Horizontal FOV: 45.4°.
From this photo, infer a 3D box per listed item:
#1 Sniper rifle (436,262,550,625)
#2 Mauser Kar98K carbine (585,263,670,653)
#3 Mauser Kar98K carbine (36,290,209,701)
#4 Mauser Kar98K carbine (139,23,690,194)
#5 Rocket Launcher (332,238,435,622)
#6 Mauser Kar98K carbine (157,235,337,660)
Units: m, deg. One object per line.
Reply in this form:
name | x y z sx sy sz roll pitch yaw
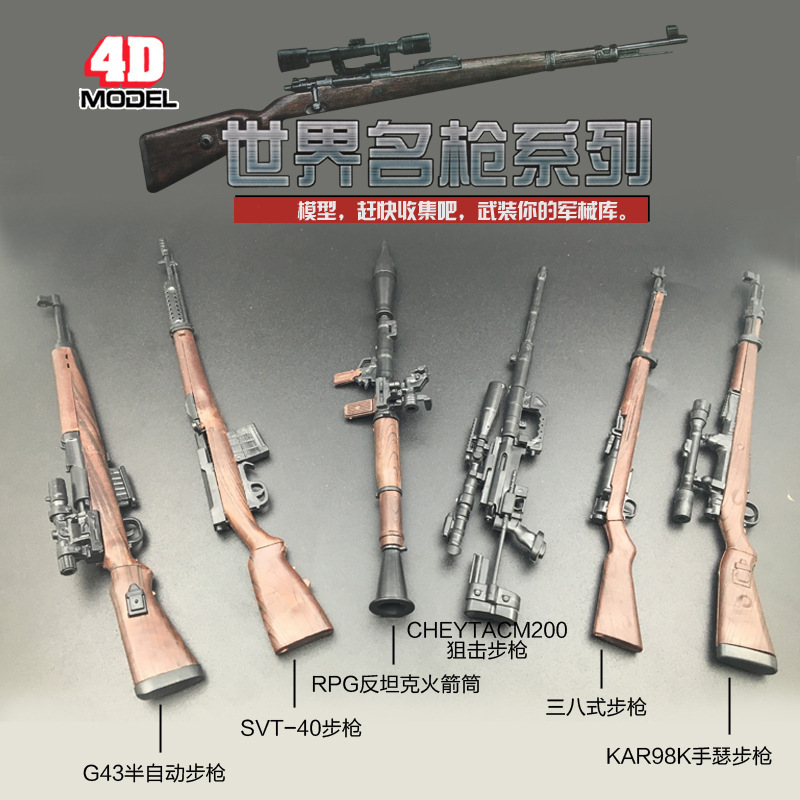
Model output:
Sniper rifle | 0.489 0.311 4.650 0.368 1.454 0.246 5 -28 20
Mauser Kar98K carbine | 1.182 0.253 4.814 0.262 1.942 0.350 4 -24 18
Mauser Kar98K carbine | -1.534 0.428 4.685 0.406 2.228 0.435 -18 -31 -20
Mauser Kar98K carbine | 0.090 -1.645 5.166 3.040 0.224 0.789 -10 -38 -5
Rocket Launcher | -0.151 0.143 4.780 0.405 1.689 0.424 -26 -31 38
Mauser Kar98K carbine | -0.818 0.326 4.786 0.450 2.612 0.319 -15 -23 -12
